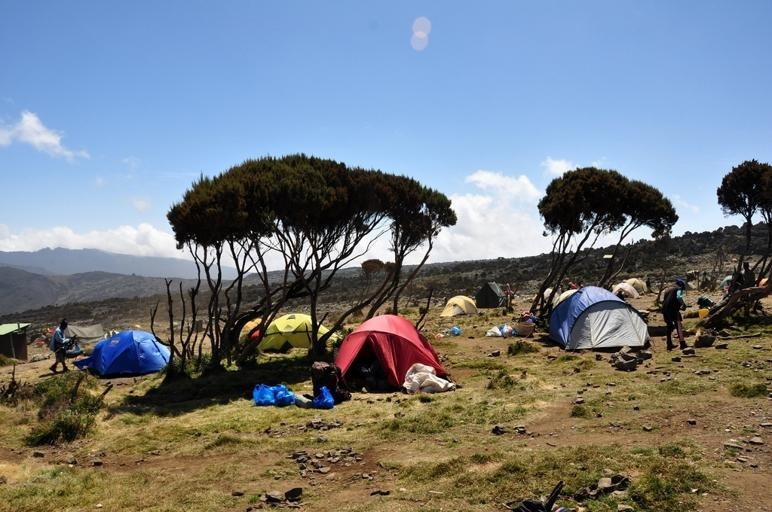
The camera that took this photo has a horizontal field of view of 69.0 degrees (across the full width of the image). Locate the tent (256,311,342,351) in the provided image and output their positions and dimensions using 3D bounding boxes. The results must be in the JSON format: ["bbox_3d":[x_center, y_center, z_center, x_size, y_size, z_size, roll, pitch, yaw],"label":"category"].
[{"bbox_3d":[-4.238,3.610,26.698,2.120,0.968,2.861,0,-1,9],"label":"tent"}]

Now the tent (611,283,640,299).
[{"bbox_3d":[16.789,2.417,39.281,1.399,0.730,1.532,-5,3,-43],"label":"tent"}]

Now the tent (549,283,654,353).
[{"bbox_3d":[8.740,2.620,22.991,2.608,1.648,3.307,-2,1,1],"label":"tent"}]

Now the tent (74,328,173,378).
[{"bbox_3d":[-11.166,4.389,23.711,2.891,1.036,2.332,0,-1,41],"label":"tent"}]

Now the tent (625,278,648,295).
[{"bbox_3d":[19.854,2.301,44.011,1.594,0.743,1.612,-3,6,-35],"label":"tent"}]

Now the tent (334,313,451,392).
[{"bbox_3d":[-0.054,3.481,20.040,2.920,1.620,2.969,1,-6,-14],"label":"tent"}]
